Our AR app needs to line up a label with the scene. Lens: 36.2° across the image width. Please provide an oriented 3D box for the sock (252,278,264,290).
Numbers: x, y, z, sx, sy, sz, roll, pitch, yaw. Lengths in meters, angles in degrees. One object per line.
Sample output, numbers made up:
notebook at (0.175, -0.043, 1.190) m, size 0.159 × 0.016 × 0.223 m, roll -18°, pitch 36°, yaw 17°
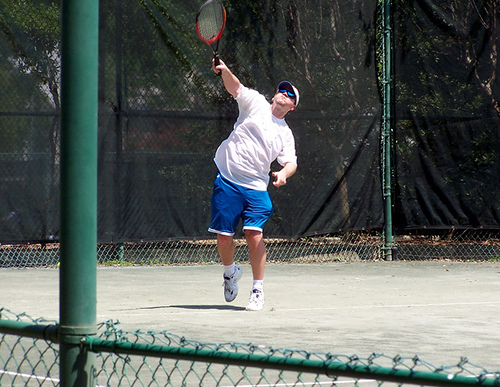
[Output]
sock at (0.075, 0.813, 6.891) m, size 0.065 × 0.089 × 0.089 m, roll 2°, pitch -9°, yaw 5°

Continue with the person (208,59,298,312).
person at (0.032, -0.036, 6.867) m, size 0.794 × 2.182 × 0.714 m, roll 0°, pitch -5°, yaw -3°

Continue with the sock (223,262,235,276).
sock at (-0.192, 0.709, 7.120) m, size 0.087 × 0.112 × 0.090 m, roll 0°, pitch 2°, yaw -12°
